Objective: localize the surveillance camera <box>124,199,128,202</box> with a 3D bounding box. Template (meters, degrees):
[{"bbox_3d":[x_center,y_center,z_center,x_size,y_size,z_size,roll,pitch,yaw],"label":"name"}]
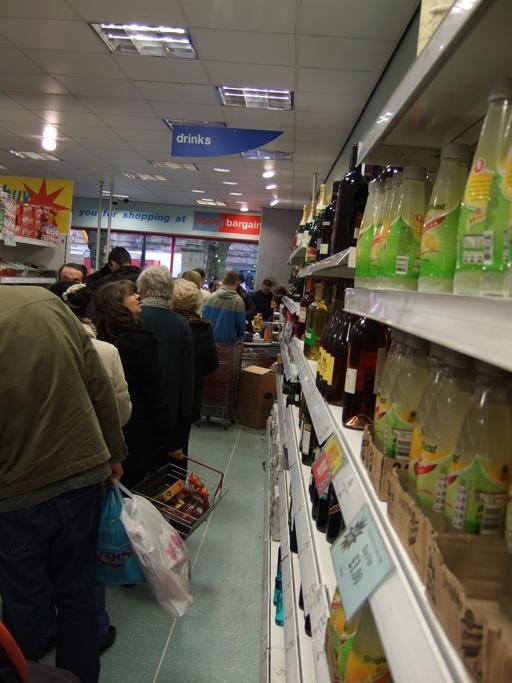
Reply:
[{"bbox_3d":[-3.891,-4.246,12.902,0.073,0.140,0.075,1,18,-6],"label":"surveillance camera"}]
